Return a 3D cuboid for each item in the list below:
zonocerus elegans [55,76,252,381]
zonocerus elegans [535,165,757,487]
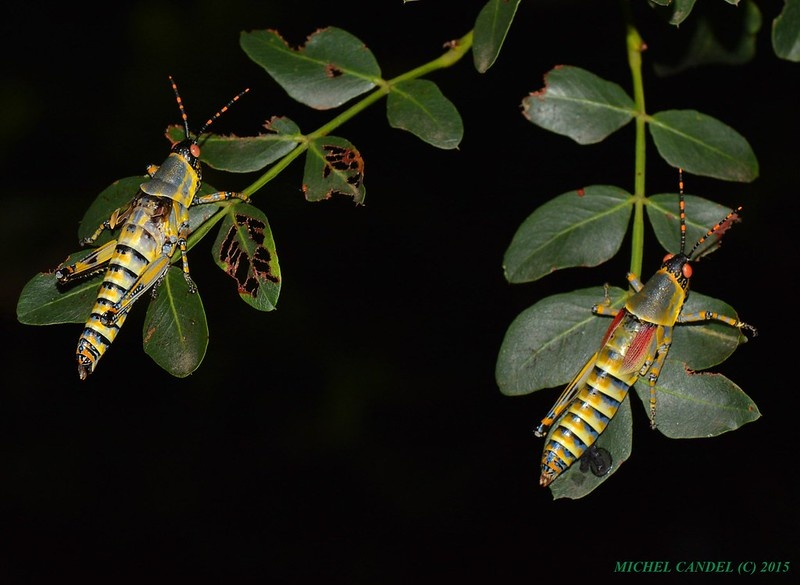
[{"bbox_3d":[-1.603,-0.296,5.465,0.721,0.676,1.629,23,60,36],"label":"zonocerus elegans"},{"bbox_3d":[1.402,0.400,5.253,1.738,0.712,0.575,-42,47,-18],"label":"zonocerus elegans"}]
